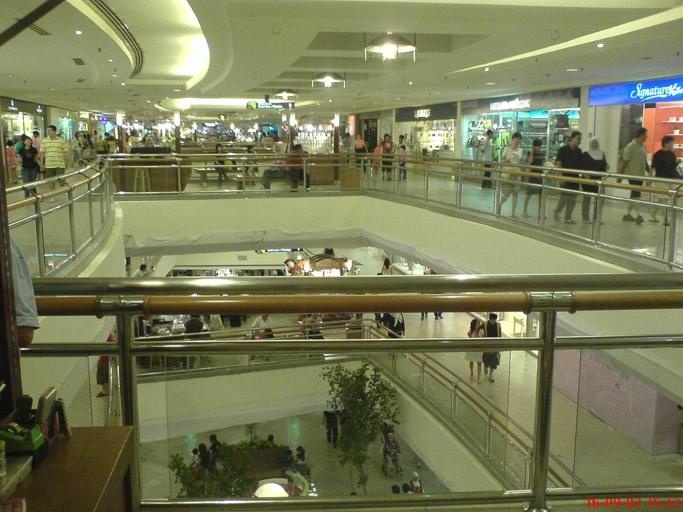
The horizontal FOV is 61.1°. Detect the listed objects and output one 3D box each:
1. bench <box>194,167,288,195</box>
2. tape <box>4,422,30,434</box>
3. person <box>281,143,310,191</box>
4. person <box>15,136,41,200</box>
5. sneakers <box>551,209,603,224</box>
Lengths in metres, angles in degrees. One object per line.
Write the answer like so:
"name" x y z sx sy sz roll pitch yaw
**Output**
"bench" -2.596 -1.963 14.943 2.346 0.587 0.548 1 8 2
"tape" -0.871 0.459 1.560 0.051 0.027 0.030 2 44 -1
"person" -1.155 -2.186 15.325 0.614 0.975 0.371 0 7 -4
"person" -6.756 -2.085 12.515 0.398 0.989 0.888 -3 8 -27
"sneakers" 3.310 -0.524 8.141 0.143 0.208 0.478 -5 6 -34
